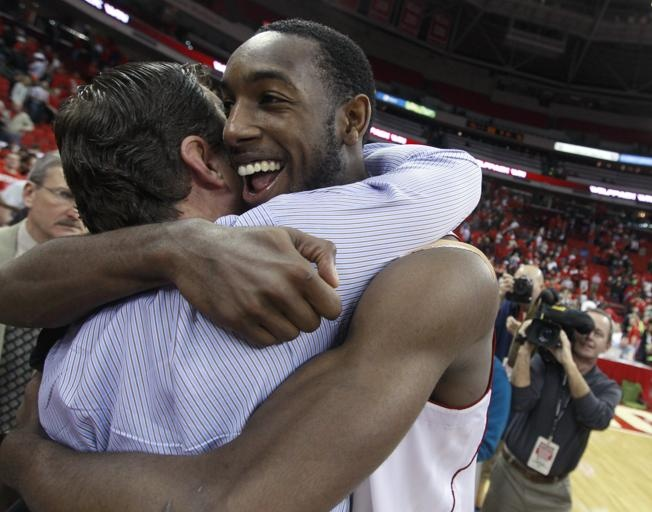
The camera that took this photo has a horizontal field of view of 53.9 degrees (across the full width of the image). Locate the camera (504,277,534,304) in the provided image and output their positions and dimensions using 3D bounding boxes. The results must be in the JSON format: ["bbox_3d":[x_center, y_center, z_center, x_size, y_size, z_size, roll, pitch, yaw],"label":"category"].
[{"bbox_3d":[1.537,0.285,5.128,0.218,0.242,0.176,3,-7,20],"label":"camera"}]
